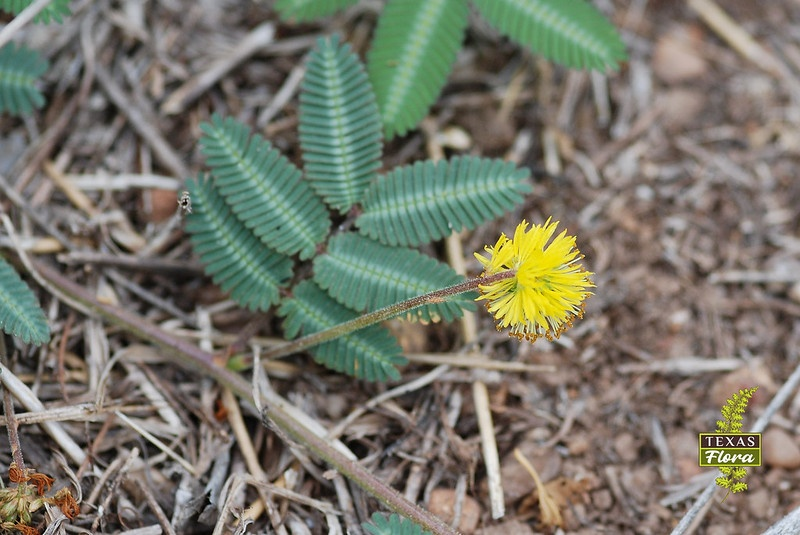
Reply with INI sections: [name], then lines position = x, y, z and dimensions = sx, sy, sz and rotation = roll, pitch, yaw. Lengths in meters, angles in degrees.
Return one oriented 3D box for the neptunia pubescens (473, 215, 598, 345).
[neptunia pubescens]
position = 0.360, -0.003, 2.502
dimensions = 0.295, 0.232, 0.328
rotation = -4, 18, -19
